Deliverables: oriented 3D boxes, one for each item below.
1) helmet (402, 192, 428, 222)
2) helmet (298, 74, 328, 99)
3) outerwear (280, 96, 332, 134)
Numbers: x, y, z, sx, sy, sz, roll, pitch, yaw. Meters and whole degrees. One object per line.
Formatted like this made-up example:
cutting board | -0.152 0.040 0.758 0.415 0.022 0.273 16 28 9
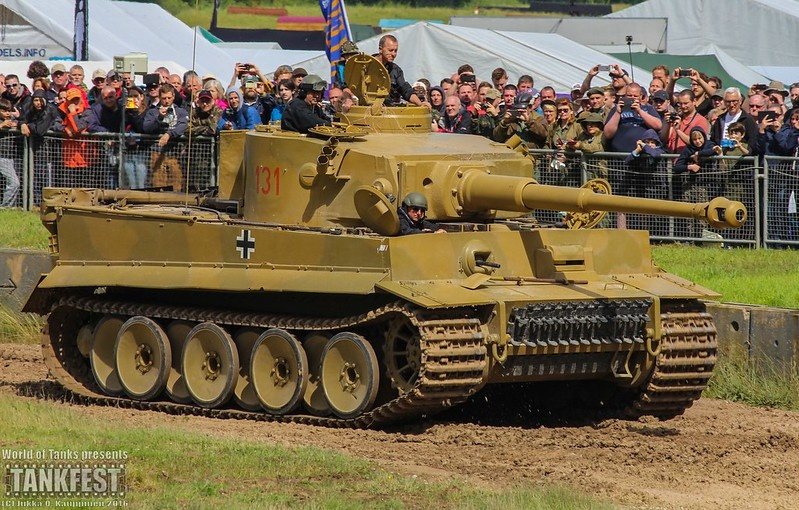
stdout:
helmet | 0.247 -0.836 26.002 0.378 0.609 0.470 0 5 -34
helmet | -1.722 -3.250 27.599 0.403 0.449 0.391 0 0 30
outerwear | -1.908 -2.651 27.513 0.732 0.889 0.667 8 4 9
